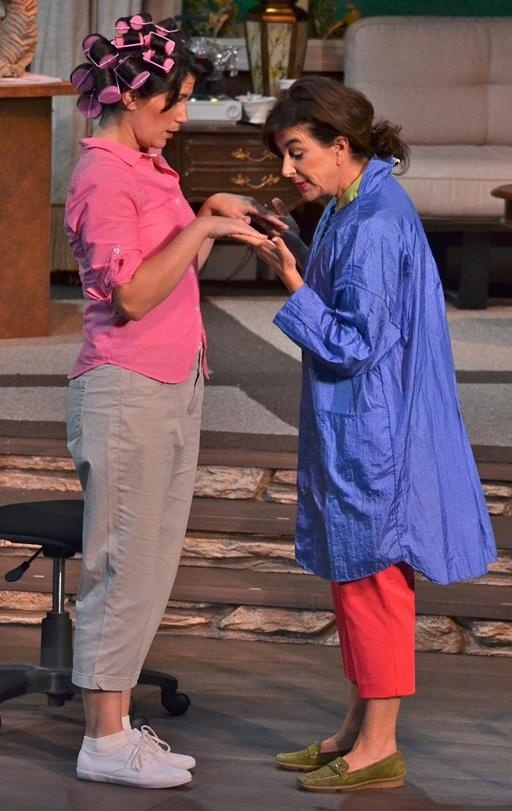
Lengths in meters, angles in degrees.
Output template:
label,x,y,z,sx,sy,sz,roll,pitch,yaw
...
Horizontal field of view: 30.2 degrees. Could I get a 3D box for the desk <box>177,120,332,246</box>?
label,x,y,z,sx,sy,sz,roll,pitch,yaw
desk,-0.096,-1.074,5.045,0.966,0.680,0.500,-3,3,-19

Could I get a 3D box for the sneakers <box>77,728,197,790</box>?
label,x,y,z,sx,sy,sz,roll,pitch,yaw
sneakers,-0.199,0.689,1.864,0.302,0.107,0.091,1,7,-6

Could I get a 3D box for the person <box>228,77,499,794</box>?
label,x,y,z,sx,sy,sz,roll,pitch,yaw
person,0.225,0.093,1.783,0.419,1.365,0.333,4,8,23
